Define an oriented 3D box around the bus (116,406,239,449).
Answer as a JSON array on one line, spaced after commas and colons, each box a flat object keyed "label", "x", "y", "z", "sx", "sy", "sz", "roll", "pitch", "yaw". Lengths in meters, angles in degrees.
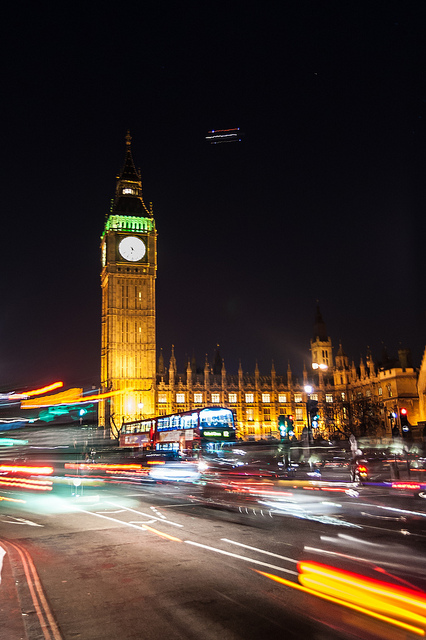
[{"label": "bus", "x": -3.830, "y": 10.426, "z": 49.194, "sx": 3.114, "sy": 3.894, "sz": 15.319, "roll": 1, "pitch": -12, "yaw": -33}]
